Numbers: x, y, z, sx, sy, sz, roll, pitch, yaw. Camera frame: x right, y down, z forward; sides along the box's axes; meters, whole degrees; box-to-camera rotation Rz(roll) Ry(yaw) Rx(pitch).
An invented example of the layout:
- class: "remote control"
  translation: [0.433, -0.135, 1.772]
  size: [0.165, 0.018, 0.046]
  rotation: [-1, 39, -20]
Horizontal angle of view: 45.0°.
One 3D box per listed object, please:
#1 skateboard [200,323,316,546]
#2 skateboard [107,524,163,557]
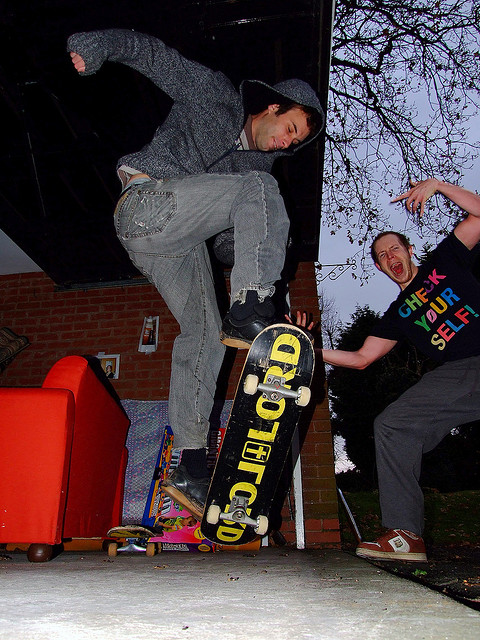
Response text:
- class: "skateboard"
  translation: [0.076, 0.432, 2.349]
  size: [0.308, 1.107, 0.166]
  rotation: [18, 13, -4]
- class: "skateboard"
  translation: [-0.550, 1.149, 3.054]
  size: [0.195, 0.102, 0.281]
  rotation: [1, -27, 0]
